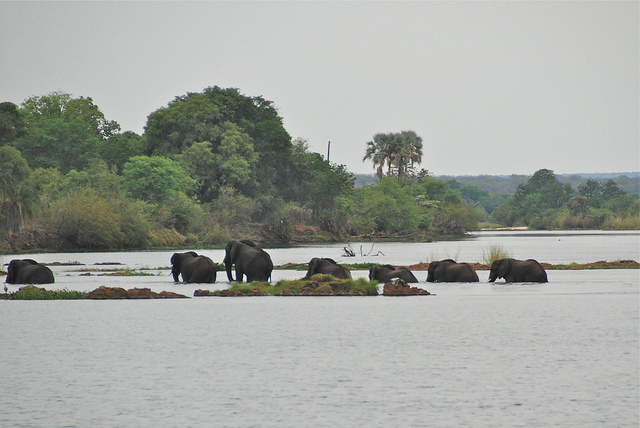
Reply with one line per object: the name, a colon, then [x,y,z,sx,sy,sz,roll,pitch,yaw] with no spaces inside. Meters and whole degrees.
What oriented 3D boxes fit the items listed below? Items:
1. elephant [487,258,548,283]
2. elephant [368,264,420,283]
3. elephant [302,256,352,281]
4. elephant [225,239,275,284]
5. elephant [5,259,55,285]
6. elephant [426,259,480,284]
elephant: [10.153,2.954,60.772,3.376,1.651,1.175,4,-5,7]
elephant: [3.603,3.026,59.609,2.464,1.223,0.949,5,6,32]
elephant: [0.330,2.866,58.970,1.021,1.113,2.229,-8,15,-44]
elephant: [-3.604,2.636,59.188,3.139,2.146,1.862,12,12,40]
elephant: [-14.326,3.017,58.430,2.548,1.361,1.086,12,16,33]
elephant: [6.671,3.003,60.337,2.464,1.177,1.283,1,-6,6]
